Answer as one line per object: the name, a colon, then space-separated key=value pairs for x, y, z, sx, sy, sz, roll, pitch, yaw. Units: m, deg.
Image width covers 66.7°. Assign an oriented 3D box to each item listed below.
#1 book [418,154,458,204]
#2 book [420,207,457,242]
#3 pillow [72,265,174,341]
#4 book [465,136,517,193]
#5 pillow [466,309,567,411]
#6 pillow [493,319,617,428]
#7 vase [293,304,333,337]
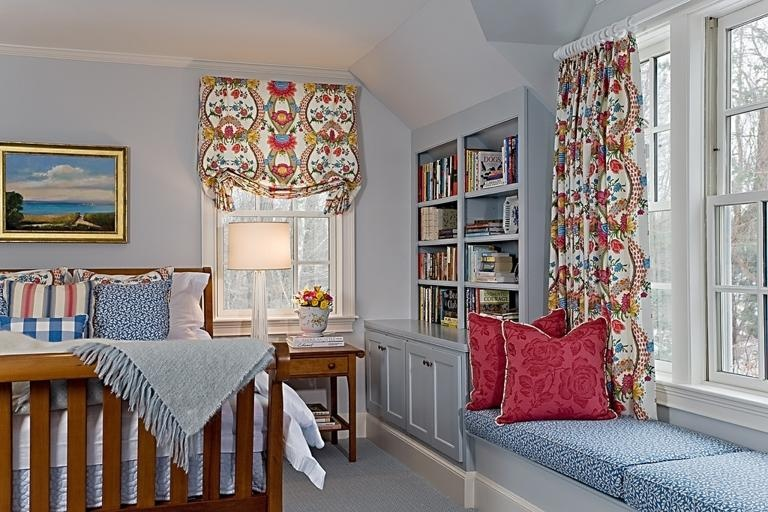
book: x=0.452 y=-0.629 z=4.828 sx=0.223 sy=0.384 sz=0.411 roll=5 pitch=-9 yaw=-22
book: x=0.433 y=-0.281 z=4.926 sx=0.350 sy=0.351 sz=0.257 roll=2 pitch=-3 yaw=-35
pillow: x=-1.737 y=0.327 z=3.885 sx=0.434 sy=0.400 sz=0.162 roll=-1 pitch=-10 yaw=-14
book: x=0.789 y=-0.642 z=4.209 sx=0.351 sy=0.504 sz=0.361 roll=-3 pitch=-4 yaw=45
pillow: x=0.786 y=0.632 z=3.454 sx=0.566 sy=0.528 sz=0.212 roll=-6 pitch=-4 yaw=-3
pillow: x=0.997 y=0.686 z=3.352 sx=0.596 sy=0.550 sz=0.205 roll=-1 pitch=-12 yaw=4
vase: x=-0.527 y=0.484 z=4.576 sx=0.304 sy=0.219 sz=0.210 roll=1 pitch=-6 yaw=-11
